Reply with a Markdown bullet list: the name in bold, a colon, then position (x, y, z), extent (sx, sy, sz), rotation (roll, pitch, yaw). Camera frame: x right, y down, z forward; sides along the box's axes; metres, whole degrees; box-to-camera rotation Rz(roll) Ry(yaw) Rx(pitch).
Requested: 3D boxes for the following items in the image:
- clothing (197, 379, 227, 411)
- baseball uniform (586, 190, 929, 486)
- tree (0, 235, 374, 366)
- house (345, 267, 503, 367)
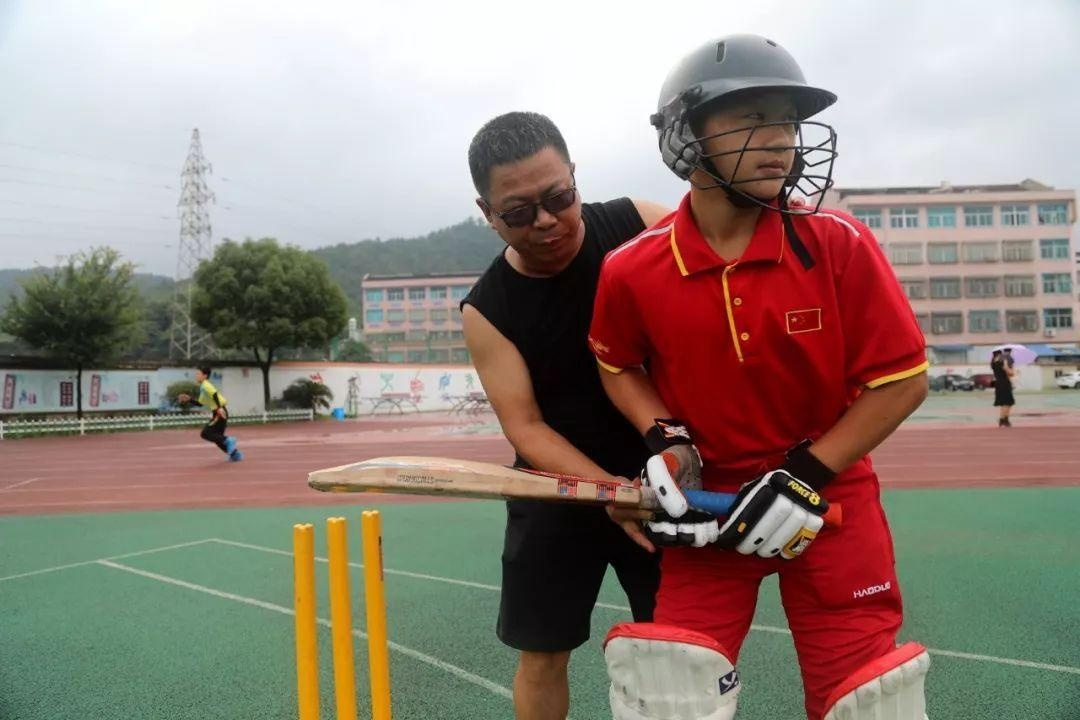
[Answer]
- **clothing**: position (-6.769, 0.718, 17.017), extent (0.564, 0.472, 0.765), rotation (19, 7, -13)
- **baseball uniform**: position (1.090, -0.097, 4.514), extent (1.673, 1.434, 0.674), rotation (-5, 3, 9)
- **tree**: position (-9.927, -1.431, 23.478), extent (4.454, 2.932, 5.289), rotation (7, 13, 37)
- **house**: position (-6.467, -2.006, 38.413), extent (6.145, 4.456, 3.380), rotation (-4, 7, -41)
